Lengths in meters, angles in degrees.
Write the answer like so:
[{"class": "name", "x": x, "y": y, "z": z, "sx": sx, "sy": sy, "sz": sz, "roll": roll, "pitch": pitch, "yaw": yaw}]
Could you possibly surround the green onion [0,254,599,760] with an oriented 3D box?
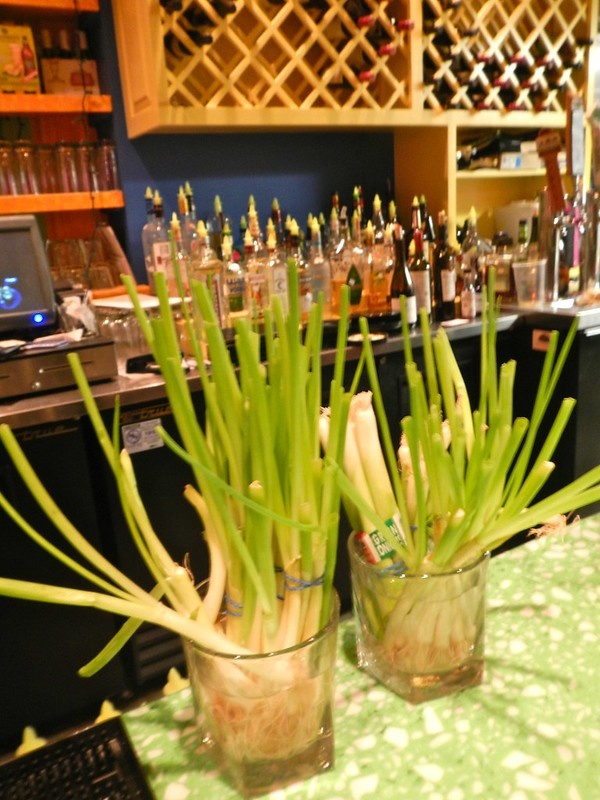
[{"class": "green onion", "x": -0.024, "y": 0.079, "z": 0.458, "sx": 0.373, "sy": 0.263, "sz": 0.395, "roll": -26, "pitch": 32, "yaw": -35}]
